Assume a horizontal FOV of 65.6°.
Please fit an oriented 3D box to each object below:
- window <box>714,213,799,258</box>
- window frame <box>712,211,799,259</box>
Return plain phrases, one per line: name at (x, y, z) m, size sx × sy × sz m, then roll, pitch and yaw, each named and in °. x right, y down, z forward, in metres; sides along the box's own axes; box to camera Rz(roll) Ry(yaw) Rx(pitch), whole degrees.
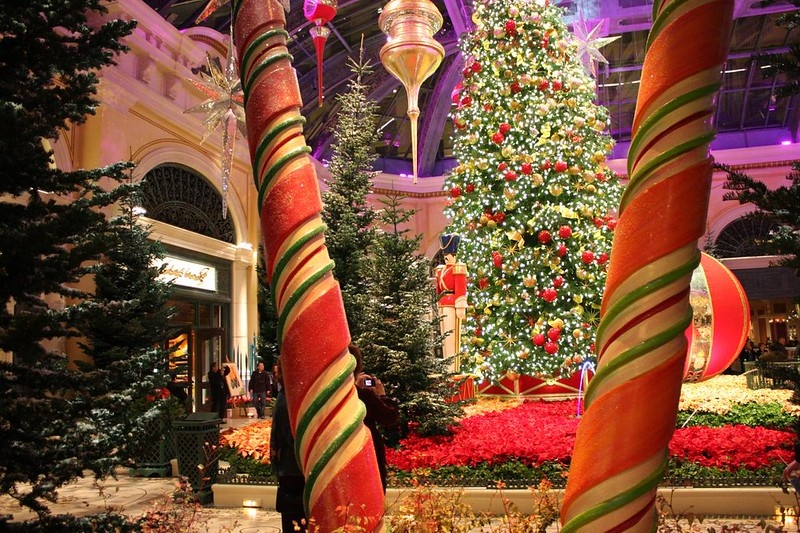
window at (8.235, -0.742, 14.746) m, size 2.224 × 1.436 × 0.059 m, roll 1°, pitch -2°, yaw 14°
window frame at (8.258, -0.752, 14.821) m, size 2.320 × 1.490 × 0.055 m, roll 1°, pitch -2°, yaw 15°
